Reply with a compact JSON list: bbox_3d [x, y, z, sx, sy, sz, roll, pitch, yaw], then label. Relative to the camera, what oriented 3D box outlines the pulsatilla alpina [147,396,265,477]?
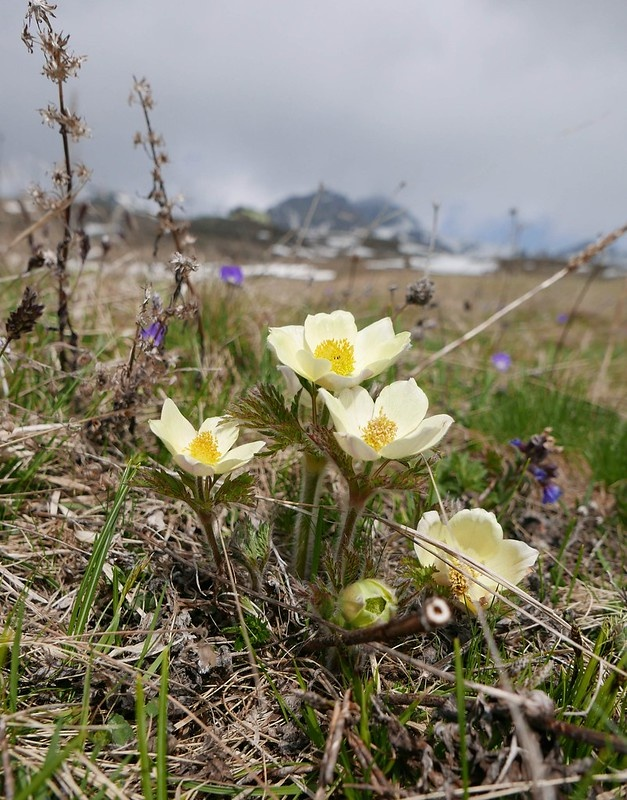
[{"bbox_3d":[-0.310,0.054,1.968,0.298,0.147,0.308,24,15,10],"label":"pulsatilla alpina"}]

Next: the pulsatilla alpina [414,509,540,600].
[{"bbox_3d":[0.467,0.490,2.048,0.316,0.126,0.337,-2,10,36],"label":"pulsatilla alpina"}]

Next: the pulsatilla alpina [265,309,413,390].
[{"bbox_3d":[0.074,-0.162,2.035,0.336,0.151,0.328,-14,24,-37],"label":"pulsatilla alpina"}]

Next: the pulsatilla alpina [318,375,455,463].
[{"bbox_3d":[0.190,0.066,1.930,0.395,0.141,0.292,6,40,14],"label":"pulsatilla alpina"}]
